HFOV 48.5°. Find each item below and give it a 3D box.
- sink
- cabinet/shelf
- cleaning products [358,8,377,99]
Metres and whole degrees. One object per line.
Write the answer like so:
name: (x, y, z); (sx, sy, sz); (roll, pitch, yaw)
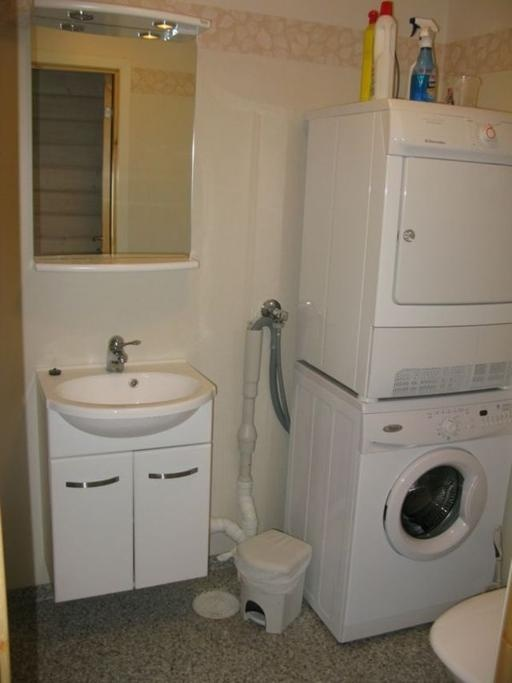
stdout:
sink: (-0.398, 0.194, 1.783); (0.506, 0.147, 0.455); (-1, 10, -24)
cabinet/shelf: (-0.388, 0.533, 1.739); (0.522, 0.500, 0.305); (-2, 20, -15)
cleaning products: (0.369, -0.901, 1.805); (0.057, 0.256, 0.049); (-3, 19, -15)
